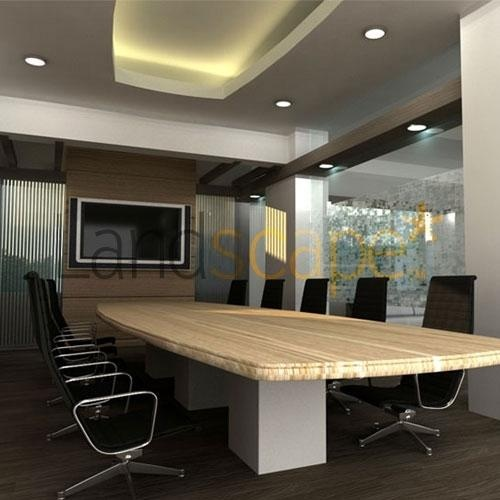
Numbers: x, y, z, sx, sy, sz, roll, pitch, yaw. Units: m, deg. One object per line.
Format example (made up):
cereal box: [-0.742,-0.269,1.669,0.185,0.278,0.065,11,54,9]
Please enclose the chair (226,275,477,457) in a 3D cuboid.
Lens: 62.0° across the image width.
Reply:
chair: [0.593,0.684,2.877,1.059,1.483,0.987,7,-10,-19]
